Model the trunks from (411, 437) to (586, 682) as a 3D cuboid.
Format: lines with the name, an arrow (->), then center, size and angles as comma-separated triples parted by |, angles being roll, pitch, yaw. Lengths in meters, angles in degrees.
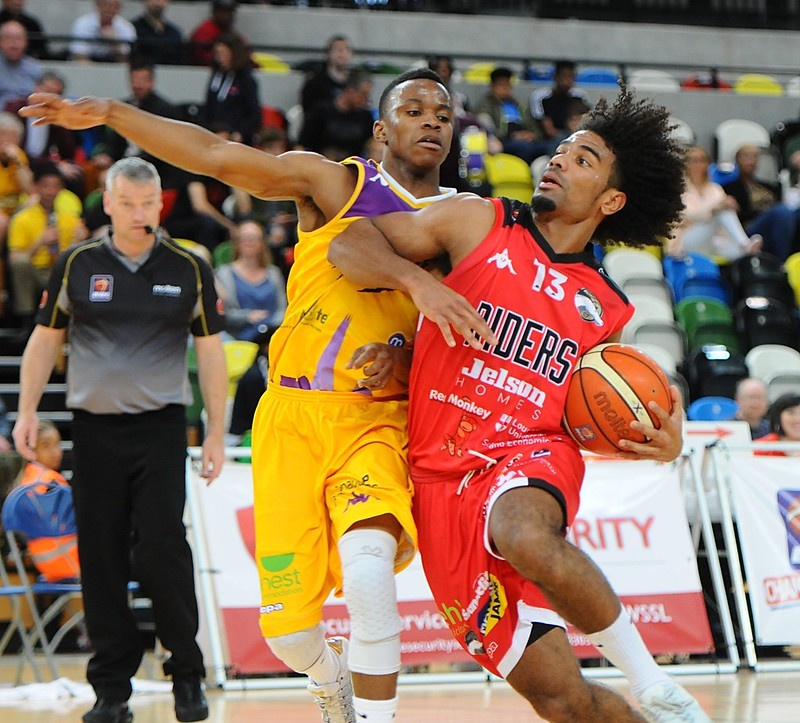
trunks -> 0.356, 0.721, 4.751 | 0.631, 0.848, 0.343 | -1, 5, 5

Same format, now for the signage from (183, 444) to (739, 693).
signage -> 0.349, 1.042, 6.859 | 3.129, 1.405, 0.900 | 4, -8, -25

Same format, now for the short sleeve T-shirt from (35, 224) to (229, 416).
short sleeve T-shirt -> -1.284, -0.190, 6.234 | 0.941, 0.790, 0.491 | 1, 14, -19

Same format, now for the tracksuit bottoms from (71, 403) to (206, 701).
tracksuit bottoms -> -1.231, 0.877, 6.092 | 0.588, 1.497, 0.454 | -2, -3, 5
